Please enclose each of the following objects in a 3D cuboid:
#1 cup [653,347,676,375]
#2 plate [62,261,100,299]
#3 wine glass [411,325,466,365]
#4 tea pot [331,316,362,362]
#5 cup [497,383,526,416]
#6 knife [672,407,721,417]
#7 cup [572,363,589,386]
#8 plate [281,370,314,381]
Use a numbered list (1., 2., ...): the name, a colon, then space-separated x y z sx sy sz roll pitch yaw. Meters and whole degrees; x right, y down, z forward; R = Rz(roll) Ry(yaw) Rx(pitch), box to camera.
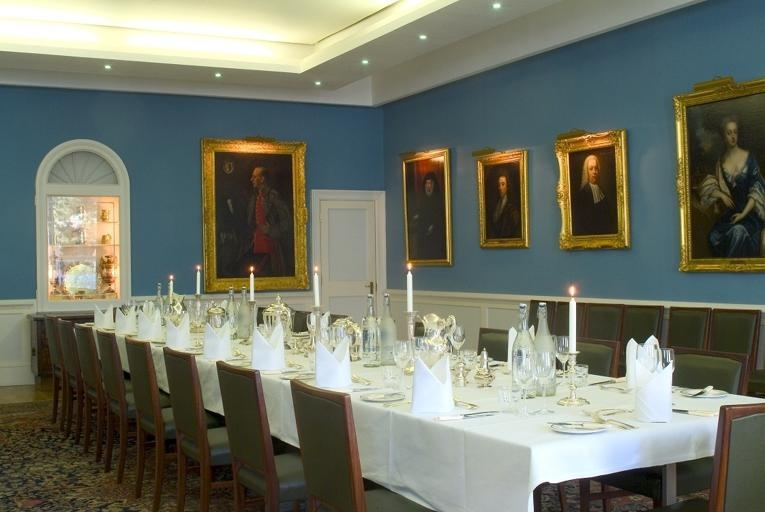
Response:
1. cup: 1.528 0.570 3.205 0.112 0.125 0.120 0 -1 0
2. plate: -4.610 0.373 9.030 0.484 0.545 0.116 5 0 -27
3. wine glass: 0.352 0.558 3.746 0.276 0.303 0.197 5 -7 -12
4. tea pot: -0.228 0.587 4.223 0.272 0.339 0.275 0 -3 0
5. cup: 0.673 0.763 3.122 0.114 0.110 0.145 0 -6 -10
6. knife: 1.617 0.812 3.072 0.073 0.013 0.255 -4 3 -33
7. cup: 1.217 0.719 3.662 0.066 0.143 0.225 -4 9 24
8. plate: -0.565 0.805 3.993 0.186 0.037 0.122 1 2 14
